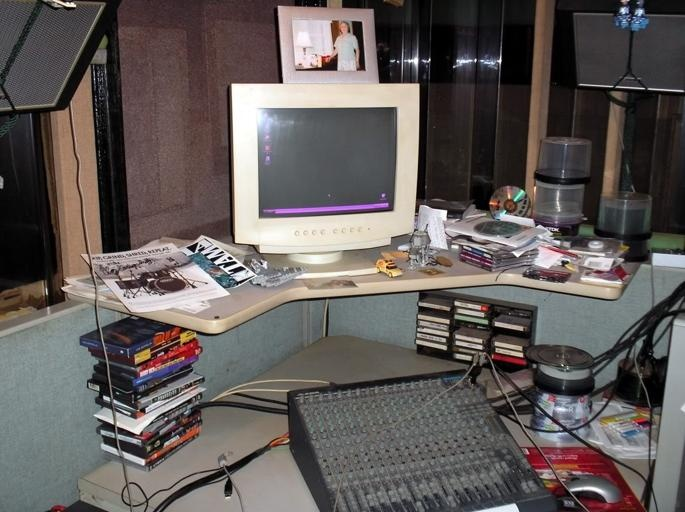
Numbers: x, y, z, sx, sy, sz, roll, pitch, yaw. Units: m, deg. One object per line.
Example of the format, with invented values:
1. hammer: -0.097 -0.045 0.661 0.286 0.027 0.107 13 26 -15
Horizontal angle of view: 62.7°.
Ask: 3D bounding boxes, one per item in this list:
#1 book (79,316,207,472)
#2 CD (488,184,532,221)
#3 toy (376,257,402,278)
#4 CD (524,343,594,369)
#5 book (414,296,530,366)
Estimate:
1. book: -0.554 0.369 1.602 0.188 0.373 0.282 10 21 36
2. CD: 0.624 -0.195 2.054 0.035 0.136 0.148 3 -6 -34
3. toy: 0.141 0.028 1.701 0.044 0.036 0.074 -23 37 -35
4. CD: 0.647 0.283 1.679 0.150 0.060 0.157 -9 16 -31
5. book: 0.479 0.267 2.009 0.365 0.147 0.267 13 19 34
